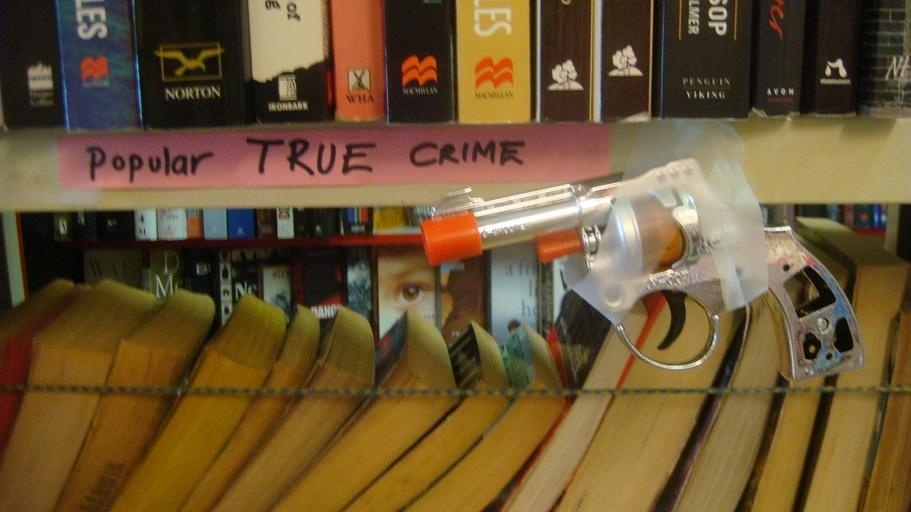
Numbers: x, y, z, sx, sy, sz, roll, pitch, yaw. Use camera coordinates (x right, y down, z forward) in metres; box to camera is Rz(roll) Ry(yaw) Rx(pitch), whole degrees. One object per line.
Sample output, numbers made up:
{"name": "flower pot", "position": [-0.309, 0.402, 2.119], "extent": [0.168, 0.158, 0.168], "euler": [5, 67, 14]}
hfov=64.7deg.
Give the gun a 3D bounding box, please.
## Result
{"name": "gun", "position": [0.346, 0.054, 1.238], "extent": [0.676, 0.434, 0.174], "euler": [-10, 13, -2]}
